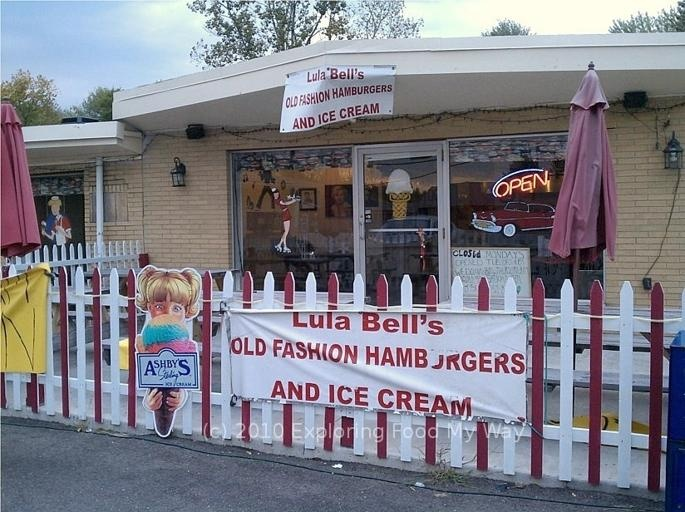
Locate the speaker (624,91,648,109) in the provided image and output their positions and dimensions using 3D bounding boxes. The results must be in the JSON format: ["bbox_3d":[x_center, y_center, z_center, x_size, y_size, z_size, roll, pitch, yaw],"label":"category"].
[{"bbox_3d":[4.011,-2.160,15.792,0.325,0.244,0.190,1,3,9],"label":"speaker"}]

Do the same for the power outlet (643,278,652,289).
[{"bbox_3d":[4.209,0.369,15.933,0.111,0.146,0.041,0,2,21],"label":"power outlet"}]

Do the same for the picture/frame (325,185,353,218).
[{"bbox_3d":[-0.032,-0.840,17.403,0.446,0.513,0.034,1,2,14],"label":"picture/frame"}]

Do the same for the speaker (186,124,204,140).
[{"bbox_3d":[-2.257,-1.929,17.824,0.301,0.189,0.274,-3,6,12],"label":"speaker"}]

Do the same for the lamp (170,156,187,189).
[{"bbox_3d":[-2.563,-1.313,17.930,0.248,0.469,0.163,2,5,6],"label":"lamp"}]

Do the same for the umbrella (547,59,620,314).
[{"bbox_3d":[2.641,-0.837,13.081,0.685,2.654,0.843,6,12,26],"label":"umbrella"}]
